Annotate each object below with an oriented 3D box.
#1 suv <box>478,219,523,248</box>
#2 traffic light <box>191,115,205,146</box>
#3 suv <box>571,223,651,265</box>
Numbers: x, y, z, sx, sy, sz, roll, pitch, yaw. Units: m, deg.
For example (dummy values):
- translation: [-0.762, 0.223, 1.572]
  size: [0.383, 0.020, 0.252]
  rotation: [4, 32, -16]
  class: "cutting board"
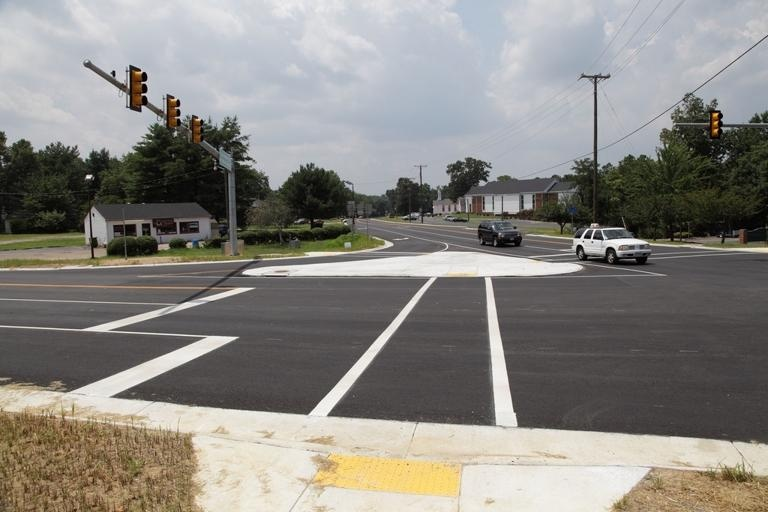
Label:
- translation: [8.578, -1.667, 45.733]
  size: [1.676, 1.305, 3.516]
  rotation: [-4, 4, -16]
  class: "suv"
- translation: [-7.947, -5.386, 25.612]
  size: [0.437, 1.095, 1.268]
  rotation: [-1, 4, -18]
  class: "traffic light"
- translation: [11.464, -0.586, 30.432]
  size: [1.774, 1.702, 3.686]
  rotation: [-2, 2, -16]
  class: "suv"
